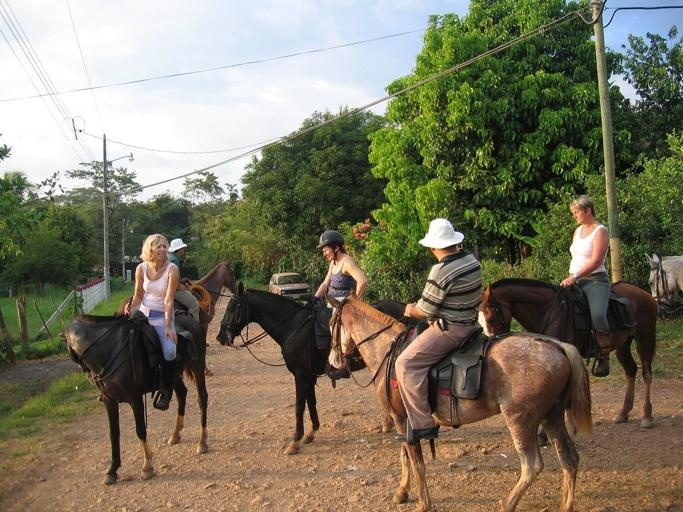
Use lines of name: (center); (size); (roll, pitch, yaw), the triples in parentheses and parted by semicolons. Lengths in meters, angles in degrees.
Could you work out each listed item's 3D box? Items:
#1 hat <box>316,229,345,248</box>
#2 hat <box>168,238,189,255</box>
hat: (-0.219, -0.329, 13.404); (0.407, 0.256, 0.294); (0, -7, -25)
hat: (-3.781, -0.238, 16.313); (0.372, 0.204, 0.445); (-14, 11, 10)
